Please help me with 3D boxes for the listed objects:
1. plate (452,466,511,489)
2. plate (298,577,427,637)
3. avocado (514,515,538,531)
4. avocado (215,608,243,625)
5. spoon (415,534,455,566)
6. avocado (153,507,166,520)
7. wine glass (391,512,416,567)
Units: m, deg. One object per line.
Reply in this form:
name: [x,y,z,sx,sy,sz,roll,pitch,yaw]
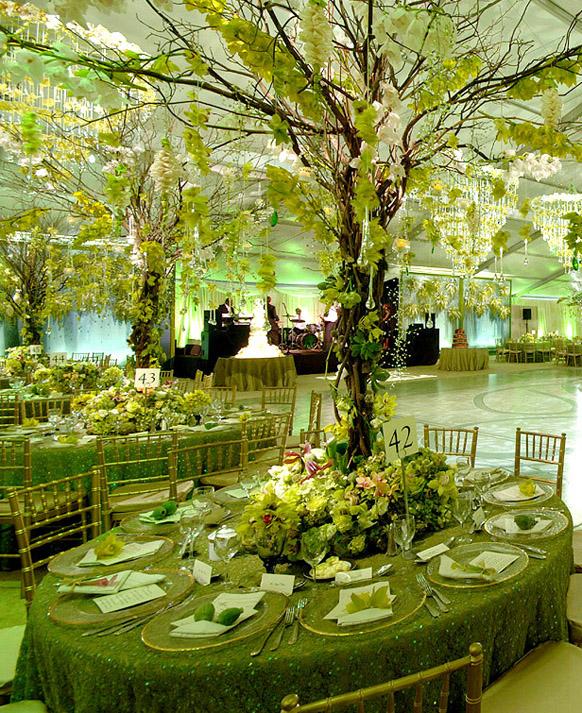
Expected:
plate: [0.852,0.548,2.339,0.216,0.030,0.229,-1,4,34]
plate: [0.182,0.627,1.292,0.319,0.032,0.270,-2,2,-1]
avocado: [0.815,0.581,1.803,0.061,0.036,0.043,0,-27,-18]
avocado: [-0.149,0.618,1.232,0.068,0.032,0.050,-2,2,-14]
spoon: [0.455,0.603,1.662,0.047,0.035,0.282,-1,0,43]
avocado: [-0.522,0.617,2.041,0.049,0.036,0.053,2,-10,-5]
wine glass: [0.352,0.559,1.655,0.069,0.152,0.240,-2,2,10]
